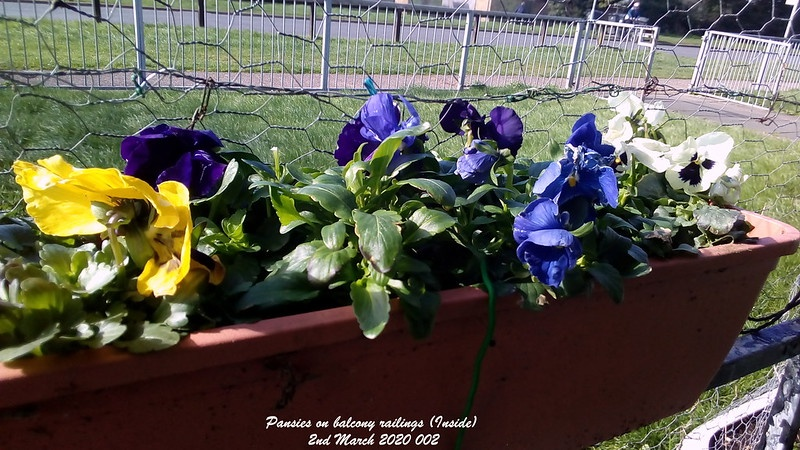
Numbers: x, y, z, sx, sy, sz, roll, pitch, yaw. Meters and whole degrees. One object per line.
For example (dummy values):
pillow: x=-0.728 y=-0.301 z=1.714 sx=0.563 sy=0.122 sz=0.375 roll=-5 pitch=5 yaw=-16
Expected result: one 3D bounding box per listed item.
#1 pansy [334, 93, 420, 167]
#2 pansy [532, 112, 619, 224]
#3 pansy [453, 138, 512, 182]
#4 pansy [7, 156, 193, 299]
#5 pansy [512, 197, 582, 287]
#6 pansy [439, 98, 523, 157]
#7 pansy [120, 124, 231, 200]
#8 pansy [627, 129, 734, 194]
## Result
pansy: x=-0.044 y=-0.186 z=1.128 sx=0.103 sy=0.173 sz=0.182 roll=-17 pitch=35 yaw=-40
pansy: x=0.350 y=-0.120 z=1.047 sx=0.195 sy=0.219 sz=0.098 roll=2 pitch=7 yaw=10
pansy: x=0.168 y=-0.136 z=1.125 sx=0.094 sy=0.097 sz=0.046 roll=8 pitch=-15 yaw=12
pansy: x=-0.516 y=-0.001 z=0.965 sx=0.334 sy=0.213 sz=0.094 roll=13 pitch=26 yaw=12
pansy: x=0.282 y=0.032 z=1.022 sx=0.118 sy=0.143 sz=0.094 roll=-7 pitch=29 yaw=-27
pansy: x=0.188 y=-0.227 z=1.230 sx=0.151 sy=0.060 sz=0.139 roll=20 pitch=-13 yaw=-12
pansy: x=-0.462 y=-0.167 z=1.086 sx=0.178 sy=0.077 sz=0.204 roll=1 pitch=19 yaw=-25
pansy: x=0.720 y=-0.167 z=1.339 sx=0.201 sy=0.203 sz=0.079 roll=1 pitch=-5 yaw=-20
